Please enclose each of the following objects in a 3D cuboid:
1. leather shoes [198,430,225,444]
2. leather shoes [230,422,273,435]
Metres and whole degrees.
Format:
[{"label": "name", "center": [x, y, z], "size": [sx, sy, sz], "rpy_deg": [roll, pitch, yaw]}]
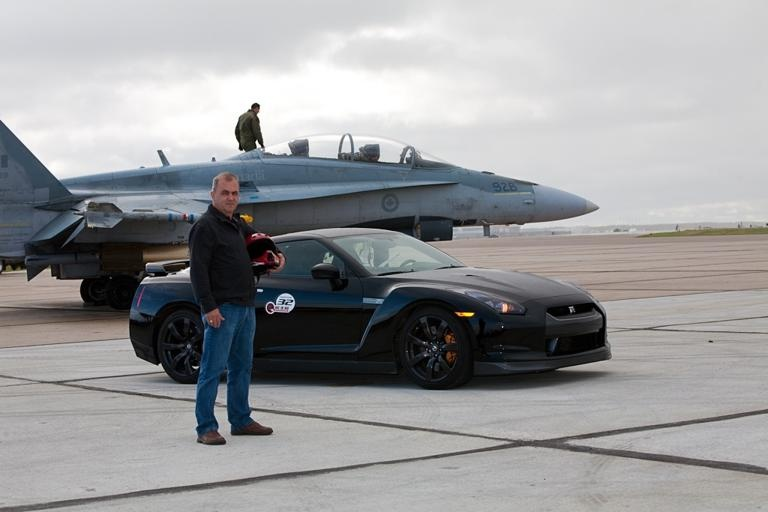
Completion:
[{"label": "leather shoes", "center": [-1.474, 1.563, 5.592], "size": [0.252, 0.061, 0.114], "rpy_deg": [-6, -7, 37]}, {"label": "leather shoes", "center": [-1.191, 1.556, 5.883], "size": [0.434, 0.097, 0.121], "rpy_deg": [-2, -1, 8]}]
